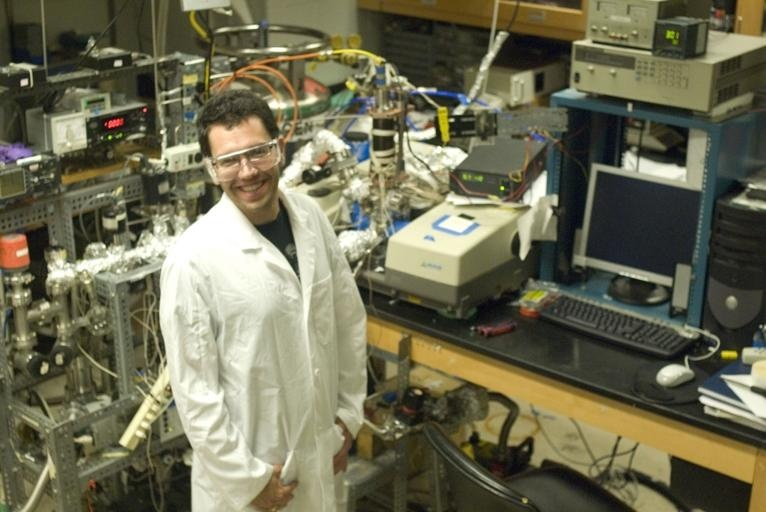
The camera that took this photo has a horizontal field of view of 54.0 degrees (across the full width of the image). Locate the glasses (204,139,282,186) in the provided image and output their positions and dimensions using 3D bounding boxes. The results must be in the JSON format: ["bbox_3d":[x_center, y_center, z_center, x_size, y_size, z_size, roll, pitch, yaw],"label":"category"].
[{"bbox_3d":[-0.446,-0.301,2.432,0.245,0.122,0.083,-7,22,-12],"label":"glasses"}]

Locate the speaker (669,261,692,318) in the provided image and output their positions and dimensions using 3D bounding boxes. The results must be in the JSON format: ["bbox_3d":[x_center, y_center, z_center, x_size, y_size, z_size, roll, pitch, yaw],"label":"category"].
[{"bbox_3d":[1.206,0.138,3.041,0.090,0.179,0.040,8,5,37],"label":"speaker"}]
